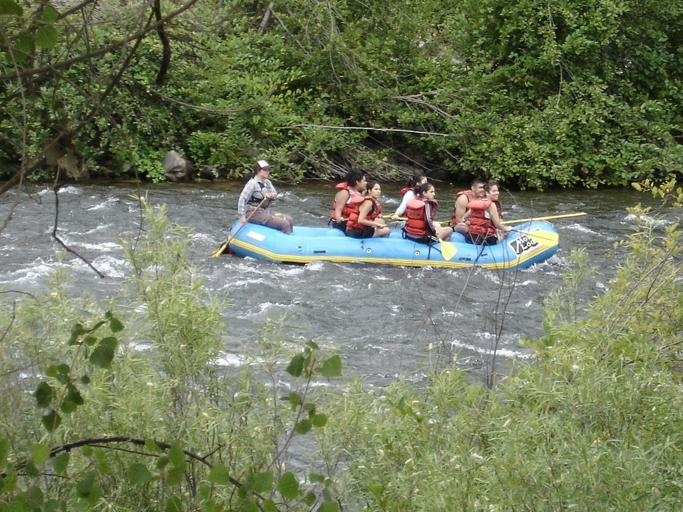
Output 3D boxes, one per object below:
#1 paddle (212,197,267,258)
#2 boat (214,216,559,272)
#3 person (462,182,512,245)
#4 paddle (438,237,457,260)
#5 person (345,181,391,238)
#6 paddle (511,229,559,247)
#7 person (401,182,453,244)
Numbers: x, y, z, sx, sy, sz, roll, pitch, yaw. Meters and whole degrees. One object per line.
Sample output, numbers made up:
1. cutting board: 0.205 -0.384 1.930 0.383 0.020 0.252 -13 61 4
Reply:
1. paddle: -1.464 -0.391 10.259 1.489 0.179 0.263 -41 6 -24
2. boat: 0.843 -0.085 9.820 3.487 0.484 1.515 0 -3 -1
3. person: 2.083 -0.588 9.911 0.700 0.775 0.654 -7 16 -36
4. paddle: 1.434 -0.113 9.553 0.292 0.081 0.249 29 56 12
5. person: 0.467 -0.560 10.012 0.735 0.967 0.648 1 4 -12
6. paddle: 2.799 -0.267 9.900 0.765 0.211 0.316 3 2 -21
7. person: 1.224 -0.588 9.792 0.659 0.769 0.741 5 11 10
